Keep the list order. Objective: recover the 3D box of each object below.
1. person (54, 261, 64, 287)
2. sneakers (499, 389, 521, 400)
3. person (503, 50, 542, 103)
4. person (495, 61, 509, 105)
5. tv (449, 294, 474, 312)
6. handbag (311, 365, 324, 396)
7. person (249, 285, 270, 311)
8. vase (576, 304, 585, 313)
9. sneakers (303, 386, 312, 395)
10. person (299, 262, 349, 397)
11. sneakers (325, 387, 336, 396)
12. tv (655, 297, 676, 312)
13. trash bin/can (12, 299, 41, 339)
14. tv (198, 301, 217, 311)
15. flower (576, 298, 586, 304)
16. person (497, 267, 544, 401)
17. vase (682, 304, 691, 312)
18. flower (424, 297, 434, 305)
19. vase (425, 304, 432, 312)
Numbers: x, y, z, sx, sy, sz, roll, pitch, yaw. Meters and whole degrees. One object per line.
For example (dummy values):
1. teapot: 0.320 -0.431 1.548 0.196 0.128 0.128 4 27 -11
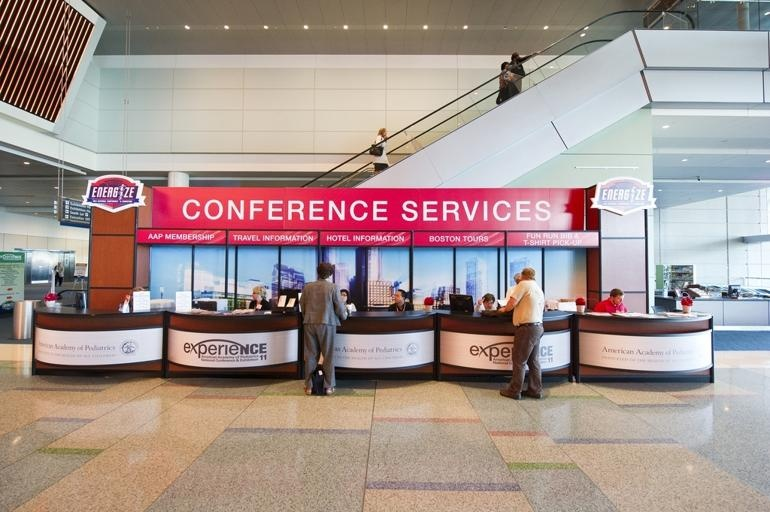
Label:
1. person: -13.958 0.746 24.693 0.270 1.058 0.485 -1 -2 -33
2. sneakers: 2.638 2.895 12.330 0.410 0.157 0.161 4 -4 29
3. person: 3.837 -5.256 17.000 0.731 1.374 0.804 -3 -2 36
4. person: 3.426 -5.065 16.955 0.458 1.363 0.600 -3 -2 10
5. tv: 1.718 1.067 13.301 0.553 0.417 0.384 -2 -1 12
6. handbag: -1.443 2.672 12.587 0.396 0.521 0.494 0 0 1
7. person: -3.129 0.976 14.311 0.528 0.813 0.684 2 -3 -15
8. vase: 4.606 1.213 13.680 0.192 0.129 0.168 -1 0 5
9. sneakers: -1.702 2.846 12.497 0.181 0.174 0.168 0 -1 -14
10. person: -1.380 1.530 12.597 0.923 2.802 0.334 -2 -2 -11
11. sneakers: -1.208 2.874 12.452 0.180 0.083 0.239 1 -3 -14
12. tv: 9.146 1.534 18.971 0.397 0.459 0.704 1 -1 0
13. trash bin/can: -10.207 1.760 16.328 0.632 1.070 0.567 -2 -2 -21
14. tv: -4.136 1.125 13.482 0.375 0.211 0.246 0 1 2
15. flower: 4.576 1.037 13.726 0.210 0.078 0.244 0 1 -7
16. person: 2.955 1.618 12.497 0.871 2.746 0.477 -3 -2 9
17. vase: 6.863 1.151 13.202 0.186 0.129 0.166 0 0 -17
18. flower: 1.014 1.044 13.822 0.219 0.096 0.207 1 -4 -7
19. vase: 1.044 1.236 14.142 0.231 0.147 0.167 -1 2 -4
